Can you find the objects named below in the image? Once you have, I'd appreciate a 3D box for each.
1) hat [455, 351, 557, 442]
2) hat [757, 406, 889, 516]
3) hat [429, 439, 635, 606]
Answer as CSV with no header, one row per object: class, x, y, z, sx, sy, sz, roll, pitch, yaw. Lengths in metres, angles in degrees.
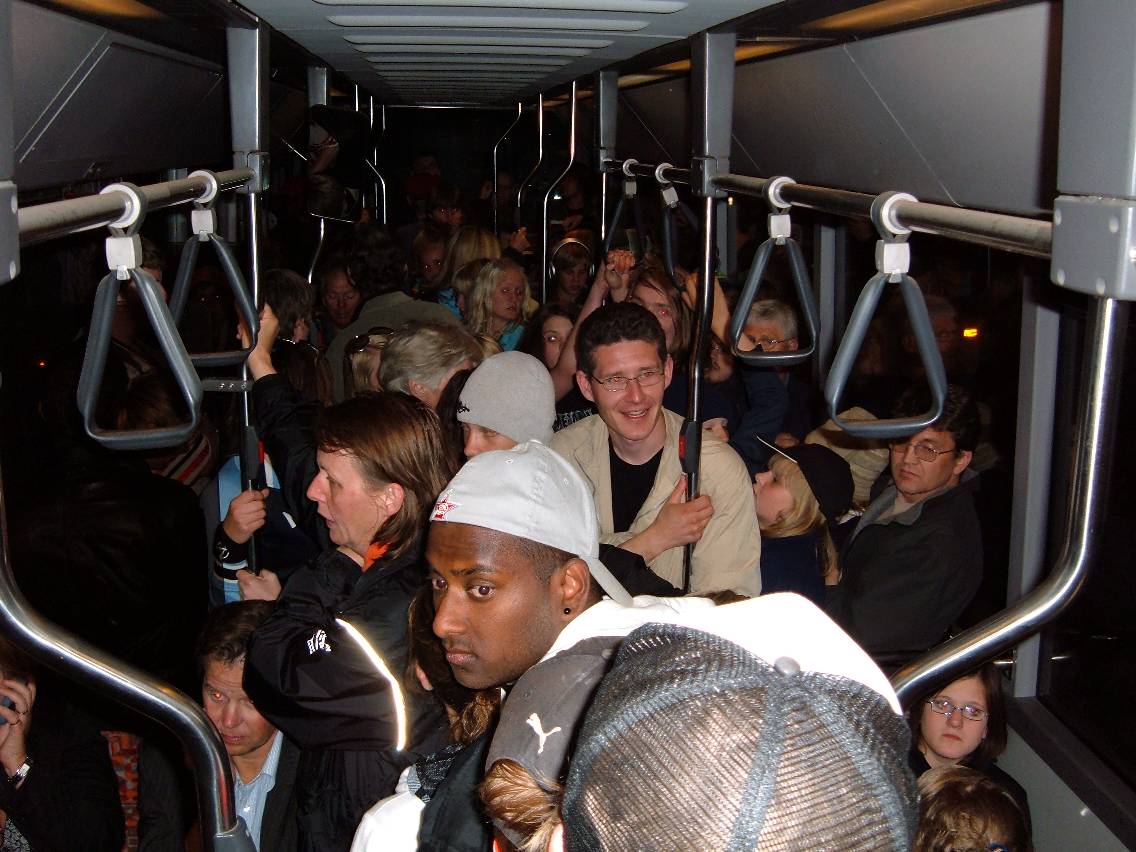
hat,-0.208,-0.136,3.149,0.387,0.309,0.378,5,12,-15
hat,1.238,0.154,4.139,0.268,0.521,0.694,0,12,-32
hat,-0.092,0.193,1.924,0.365,0.307,0.500,3,-15,34
